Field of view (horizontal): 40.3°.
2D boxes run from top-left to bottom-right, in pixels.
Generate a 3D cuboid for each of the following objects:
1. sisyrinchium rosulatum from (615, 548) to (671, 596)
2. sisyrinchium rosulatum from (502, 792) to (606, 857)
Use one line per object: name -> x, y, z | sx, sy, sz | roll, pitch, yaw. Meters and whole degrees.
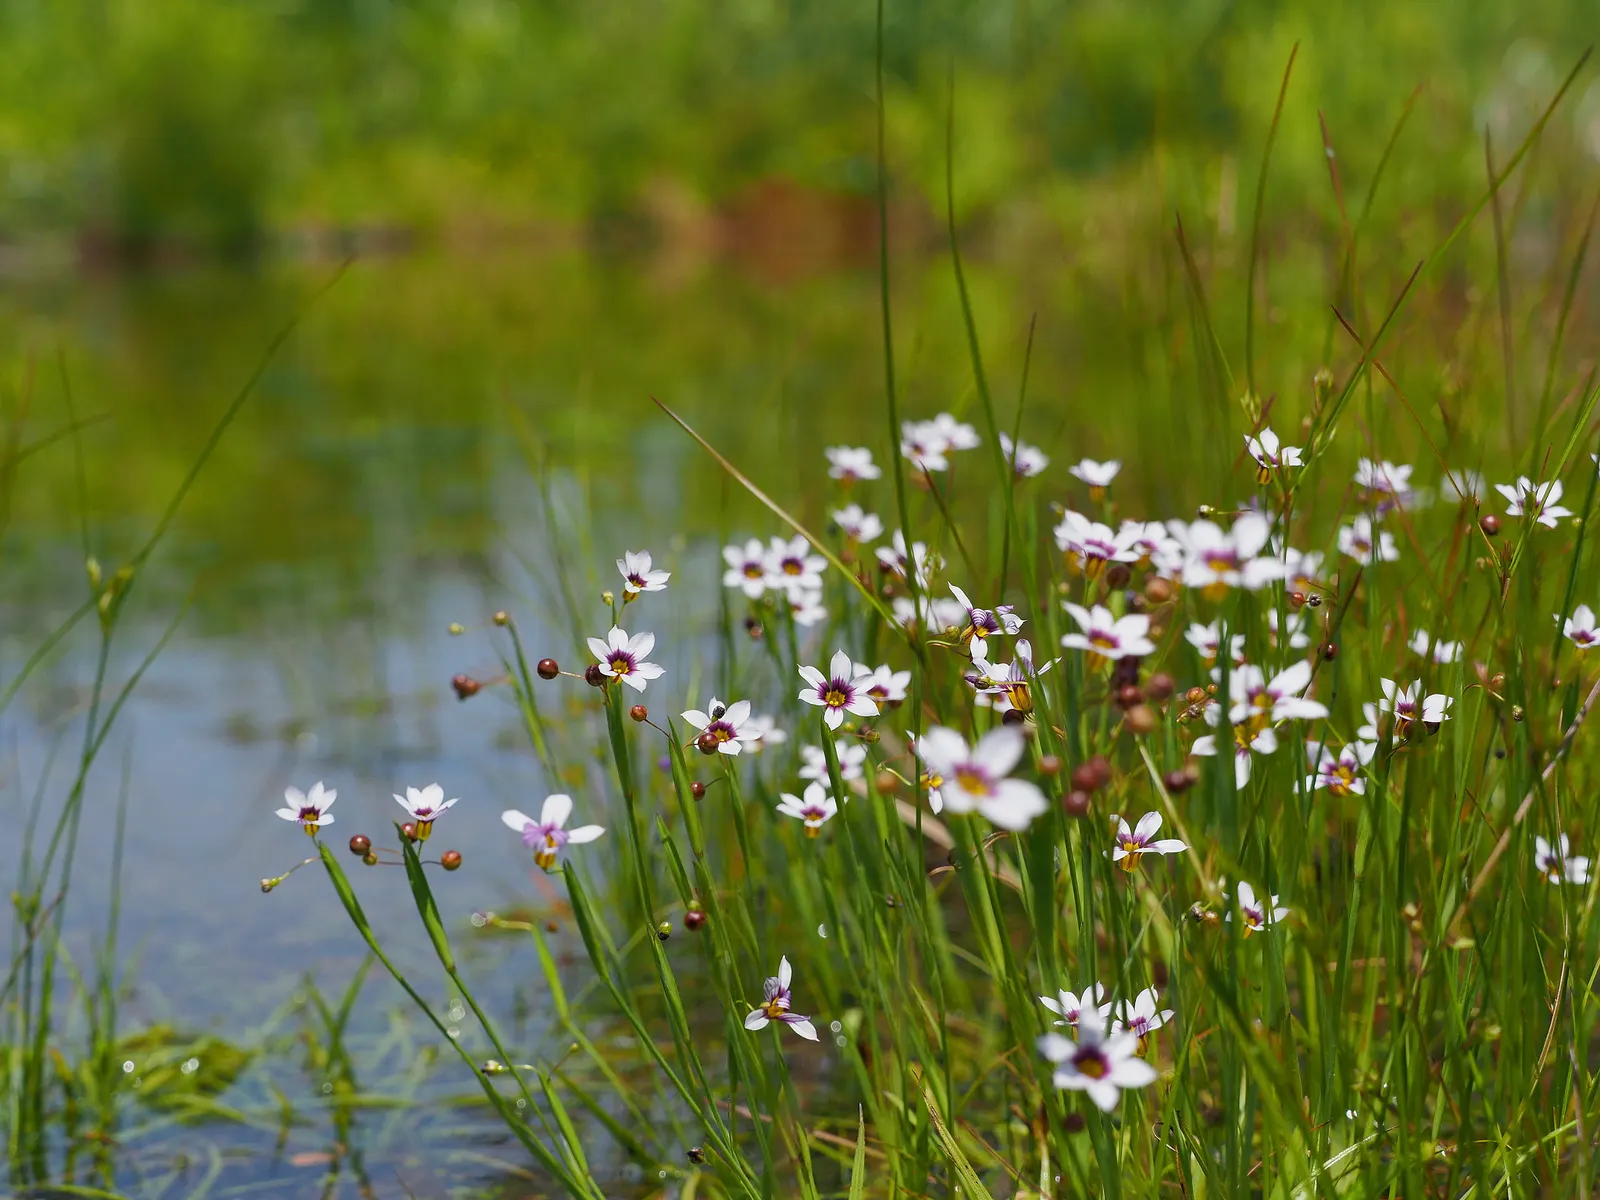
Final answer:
sisyrinchium rosulatum -> -0.352, -0.051, 4.875 | 0.107, 0.136, 0.061 | 0, -25, -33
sisyrinchium rosulatum -> -0.603, 0.557, 5.384 | 0.157, 0.164, 0.074 | -30, -36, -27
